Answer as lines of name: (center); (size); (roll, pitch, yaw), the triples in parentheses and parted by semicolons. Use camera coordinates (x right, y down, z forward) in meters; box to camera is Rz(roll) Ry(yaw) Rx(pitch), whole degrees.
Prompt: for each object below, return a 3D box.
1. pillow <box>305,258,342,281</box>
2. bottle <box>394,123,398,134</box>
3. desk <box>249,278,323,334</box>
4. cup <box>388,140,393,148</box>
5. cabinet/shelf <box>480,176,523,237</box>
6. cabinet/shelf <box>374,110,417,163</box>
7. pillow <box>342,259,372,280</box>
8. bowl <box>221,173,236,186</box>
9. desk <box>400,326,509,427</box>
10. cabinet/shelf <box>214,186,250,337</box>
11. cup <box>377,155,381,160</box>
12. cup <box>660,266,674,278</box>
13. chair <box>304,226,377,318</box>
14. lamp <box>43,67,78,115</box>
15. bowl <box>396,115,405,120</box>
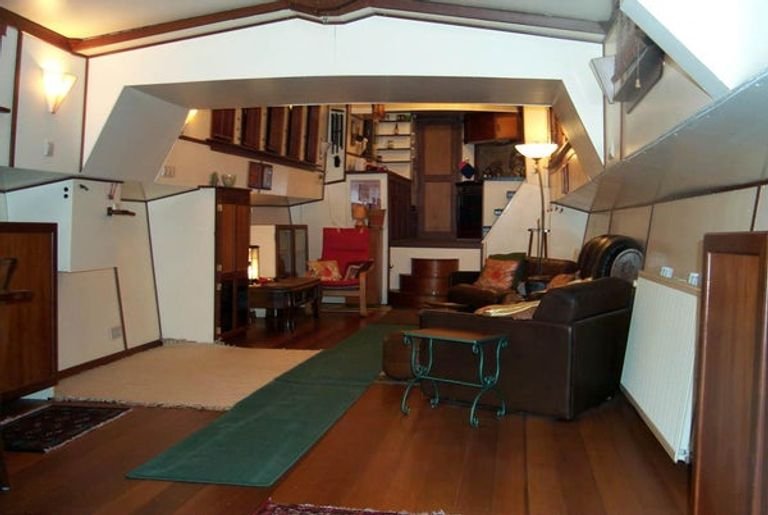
pillow: (-0.914, 0.200, 7.876); (0.497, 0.251, 0.408); (-5, 10, -28)
bottle: (0.226, -2.665, 11.176); (0.079, 0.219, 0.068); (0, 10, 1)
desk: (-1.334, 0.638, 7.280); (0.609, 0.620, 1.729); (0, 0, 6)
cup: (0.101, -2.350, 11.167); (0.142, 0.188, 0.094); (-1, 10, 0)
cabinet/shelf: (2.059, -0.825, 9.278); (0.822, 1.135, 0.830); (-3, 10, -13)
cabinet/shelf: (0.179, -2.585, 11.154); (0.641, 0.981, 0.248); (1, 27, -2)
pillow: (-0.425, 0.184, 7.834); (0.347, 0.310, 0.125); (7, -13, 39)
bowl: (-1.810, -0.905, 6.265); (0.190, 0.146, 0.174); (-2, 1, 0)
desk: (0.519, 0.802, 4.120); (0.974, 0.821, 0.585); (3, 8, 35)
cabinet/shelf: (-1.743, 0.051, 6.088); (0.195, 1.696, 0.769); (1, 10, 8)
cup: (-0.110, -2.053, 11.134); (0.094, 0.111, 0.132); (0, 9, 1)
cup: (1.980, 0.105, 3.765); (0.067, 0.090, 0.091); (8, 0, 9)
chair: (-0.557, 0.187, 8.086); (1.188, 1.462, 1.208); (0, 4, 9)
lamp: (-2.633, -1.356, 4.371); (0.135, 0.373, 0.305); (-1, 9, -3)
bowl: (0.319, -2.905, 11.174); (0.180, 0.158, 0.095); (0, 3, 3)
